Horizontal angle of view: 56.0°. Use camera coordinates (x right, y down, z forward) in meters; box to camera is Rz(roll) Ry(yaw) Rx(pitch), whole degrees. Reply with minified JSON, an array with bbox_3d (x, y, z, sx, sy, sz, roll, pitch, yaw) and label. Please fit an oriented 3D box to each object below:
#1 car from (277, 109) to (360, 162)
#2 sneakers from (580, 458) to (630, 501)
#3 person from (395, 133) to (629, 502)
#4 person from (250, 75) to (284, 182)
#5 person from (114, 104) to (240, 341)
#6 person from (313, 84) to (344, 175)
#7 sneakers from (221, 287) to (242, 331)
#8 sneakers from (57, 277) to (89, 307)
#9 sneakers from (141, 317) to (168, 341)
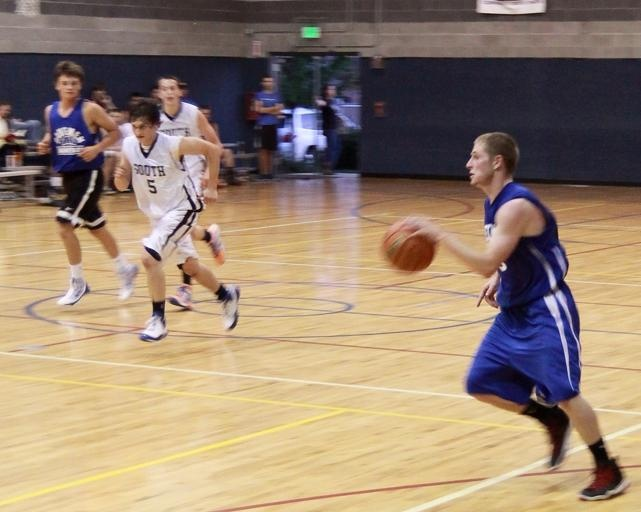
[{"bbox_3d":[-0.567,-4.100,20.956,2.027,1.645,3.564,9,18,31],"label":"car"},{"bbox_3d":[0.966,0.761,2.070,0.189,0.121,0.090,-8,11,-39],"label":"sneakers"},{"bbox_3d":[0.676,0.195,2.195,0.717,1.288,0.577,-2,9,-2],"label":"person"},{"bbox_3d":[-1.575,-3.872,18.460,0.757,2.960,1.561,-3,9,-5],"label":"person"},{"bbox_3d":[-1.122,-0.275,4.725,0.841,1.817,0.747,-6,10,-24],"label":"person"},{"bbox_3d":[0.230,-4.078,19.536,0.884,2.810,0.412,-8,11,-33],"label":"person"},{"bbox_3d":[-0.762,0.423,4.972,0.149,0.330,0.202,8,9,41],"label":"sneakers"},{"bbox_3d":[-2.413,0.344,5.609,0.166,0.166,0.440,10,17,25],"label":"sneakers"},{"bbox_3d":[-1.255,0.552,4.520,0.180,0.219,0.250,-3,8,-8],"label":"sneakers"}]
